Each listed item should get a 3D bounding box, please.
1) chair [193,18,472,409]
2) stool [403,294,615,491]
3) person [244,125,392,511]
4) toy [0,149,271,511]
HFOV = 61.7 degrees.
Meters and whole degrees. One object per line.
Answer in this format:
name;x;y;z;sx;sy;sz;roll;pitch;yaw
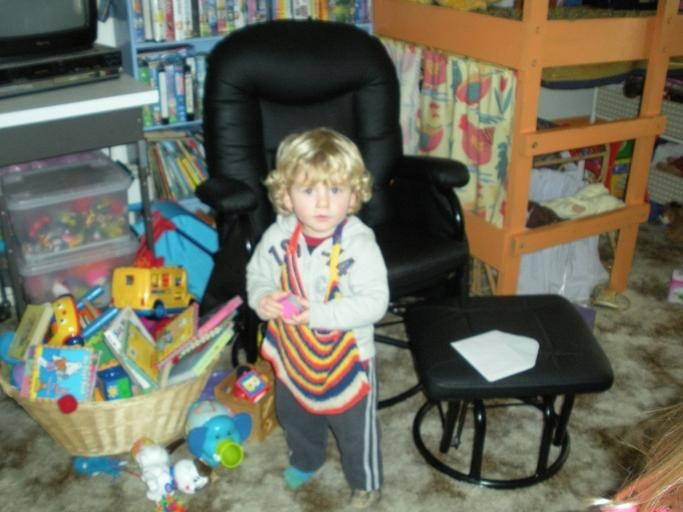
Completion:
chair;-0.046;-0.186;2.244;0.998;1.399;0.994;-4;20;-5
stool;0.580;0.481;2.146;0.672;0.501;0.680;-6;22;-1
person;-0.083;0.240;1.831;0.453;1.210;0.367;0;24;2
toy;-0.697;0.169;2.655;1.019;1.310;1.156;-22;37;-36
